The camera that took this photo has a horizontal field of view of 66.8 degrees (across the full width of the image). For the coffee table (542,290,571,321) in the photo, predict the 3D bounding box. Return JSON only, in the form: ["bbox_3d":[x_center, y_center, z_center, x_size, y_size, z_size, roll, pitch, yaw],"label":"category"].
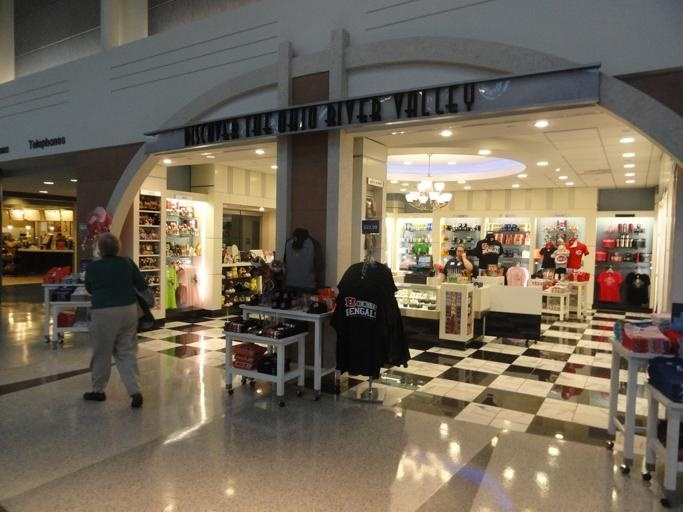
[{"bbox_3d":[5.007,1.105,12.182,0.691,0.672,0.703,3,7,29],"label":"coffee table"}]

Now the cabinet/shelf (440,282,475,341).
[{"bbox_3d":[2.083,1.016,9.323,0.631,1.074,0.577,2,12,6],"label":"cabinet/shelf"}]

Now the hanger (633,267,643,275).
[{"bbox_3d":[8.092,0.405,14.082,0.167,0.190,0.170,5,16,41],"label":"hanger"}]

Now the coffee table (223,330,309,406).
[{"bbox_3d":[-1.020,1.405,6.936,0.980,0.810,0.620,3,4,28],"label":"coffee table"}]

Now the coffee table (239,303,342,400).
[{"bbox_3d":[-0.697,1.237,7.313,1.370,1.096,0.934,3,5,22],"label":"coffee table"}]

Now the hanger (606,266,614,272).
[{"bbox_3d":[7.469,0.352,14.321,0.145,0.196,0.070,-9,7,-43],"label":"hanger"}]

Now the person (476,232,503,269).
[{"bbox_3d":[3.587,-0.107,12.551,0.547,0.834,0.690,2,13,8],"label":"person"}]

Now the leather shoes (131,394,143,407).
[{"bbox_3d":[-2.497,1.781,6.355,0.171,0.167,0.121,-3,-2,31],"label":"leather shoes"}]

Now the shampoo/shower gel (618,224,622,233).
[{"bbox_3d":[7.653,-0.758,14.159,0.146,0.247,0.076,6,13,22],"label":"shampoo/shower gel"}]

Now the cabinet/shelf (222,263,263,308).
[{"bbox_3d":[-2.155,0.604,10.899,0.389,1.076,1.161,-1,0,30],"label":"cabinet/shelf"}]

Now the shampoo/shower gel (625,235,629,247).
[{"bbox_3d":[7.826,-0.397,14.098,0.099,0.288,0.127,6,13,22],"label":"shampoo/shower gel"}]

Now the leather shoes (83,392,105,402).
[{"bbox_3d":[-3.111,1.753,6.520,0.258,0.114,0.111,5,4,11],"label":"leather shoes"}]

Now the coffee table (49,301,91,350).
[{"bbox_3d":[-4.688,1.027,8.926,0.589,0.698,1.009,-2,10,-31],"label":"coffee table"}]

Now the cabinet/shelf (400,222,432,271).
[{"bbox_3d":[2.302,-0.524,17.358,0.518,1.472,1.477,4,11,41],"label":"cabinet/shelf"}]

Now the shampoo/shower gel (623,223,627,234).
[{"bbox_3d":[7.733,-0.756,14.097,0.128,0.240,0.062,6,14,25],"label":"shampoo/shower gel"}]

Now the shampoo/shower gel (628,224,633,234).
[{"bbox_3d":[7.878,-0.753,14.057,0.174,0.243,0.068,-3,13,-14],"label":"shampoo/shower gel"}]

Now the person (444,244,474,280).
[{"bbox_3d":[2.640,0.126,11.522,0.695,0.885,0.494,5,14,16],"label":"person"}]

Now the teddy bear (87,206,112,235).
[{"bbox_3d":[-4.369,-0.647,9.336,0.379,0.480,0.452,2,13,6],"label":"teddy bear"}]

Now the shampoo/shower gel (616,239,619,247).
[{"bbox_3d":[7.619,-0.365,14.220,0.103,0.193,0.065,11,16,38],"label":"shampoo/shower gel"}]

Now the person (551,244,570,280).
[{"bbox_3d":[5.468,0.024,12.747,0.391,0.761,0.435,-1,12,-7],"label":"person"}]

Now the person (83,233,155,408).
[{"bbox_3d":[-2.823,0.923,6.379,0.754,1.791,0.542,1,12,0],"label":"person"}]

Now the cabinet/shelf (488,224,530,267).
[{"bbox_3d":[5.163,-0.447,15.421,0.415,1.200,1.241,-1,6,-31],"label":"cabinet/shelf"}]

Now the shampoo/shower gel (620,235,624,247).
[{"bbox_3d":[7.689,-0.410,14.146,0.126,0.282,0.094,8,14,29],"label":"shampoo/shower gel"}]

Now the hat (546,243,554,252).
[{"bbox_3d":[5.378,-0.233,13.320,0.171,0.234,0.208,-6,-8,30],"label":"hat"}]

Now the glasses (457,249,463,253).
[{"bbox_3d":[2.361,-0.101,10.317,0.083,0.082,0.067,13,-8,-30],"label":"glasses"}]

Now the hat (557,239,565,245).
[{"bbox_3d":[5.418,-0.346,12.759,0.185,0.110,0.187,-1,-1,26],"label":"hat"}]

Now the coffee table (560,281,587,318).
[{"bbox_3d":[5.403,1.020,12.454,0.648,0.714,0.665,4,-10,10],"label":"coffee table"}]
